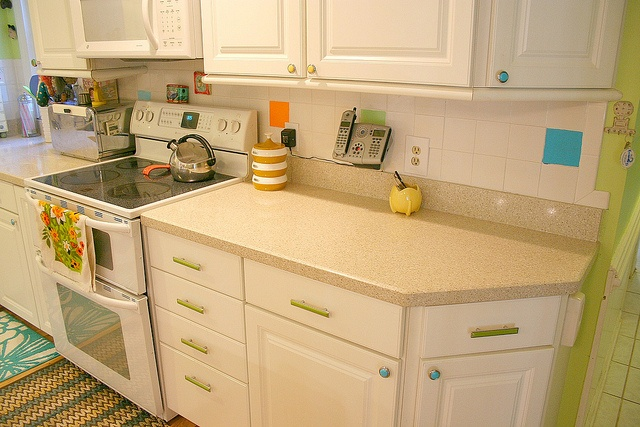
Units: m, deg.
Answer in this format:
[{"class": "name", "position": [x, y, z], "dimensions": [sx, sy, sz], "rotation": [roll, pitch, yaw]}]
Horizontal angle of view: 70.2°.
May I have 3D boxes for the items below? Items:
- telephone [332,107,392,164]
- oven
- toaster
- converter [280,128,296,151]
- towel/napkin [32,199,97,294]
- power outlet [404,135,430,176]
[{"class": "telephone", "position": [0.215, -0.365, 2.307], "dimensions": [0.279, 0.283, 0.121], "rotation": [12, -14, 30]}, {"class": "oven", "position": [-1.015, 0.375, 2.688], "dimensions": [0.875, 1.212, 0.732], "rotation": [16, 25, 41]}, {"class": "toaster", "position": [-1.512, -0.543, 3.147], "dimensions": [0.442, 0.424, 0.498], "rotation": [19, 27, 33]}, {"class": "converter", "position": [-0.181, -0.418, 2.544], "dimensions": [0.101, 0.134, 0.073], "rotation": [19, 28, 39]}, {"class": "towel/napkin", "position": [-1.347, 0.161, 2.407], "dimensions": [0.447, 0.380, 0.066], "rotation": [22, 28, 30]}, {"class": "power outlet", "position": [0.482, -0.299, 2.246], "dimensions": [0.166, 0.246, 0.028], "rotation": [11, 20, 34]}]
